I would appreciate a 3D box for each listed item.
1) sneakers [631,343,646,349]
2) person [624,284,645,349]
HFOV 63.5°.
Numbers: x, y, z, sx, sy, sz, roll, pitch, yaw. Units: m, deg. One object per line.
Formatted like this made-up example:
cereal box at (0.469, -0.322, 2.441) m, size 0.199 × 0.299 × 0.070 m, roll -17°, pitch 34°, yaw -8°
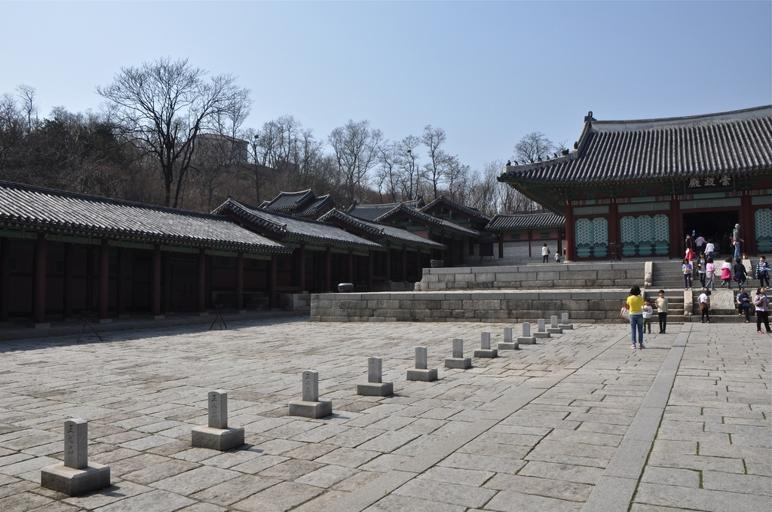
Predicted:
sneakers at (6.027, 2.157, 14.790) m, size 0.169 × 0.123 × 0.416 m, roll -1°, pitch 3°, yaw -6°
person at (6.150, 1.501, 15.353) m, size 0.444 × 1.476 × 1.539 m, roll 1°, pitch 7°, yaw 22°
